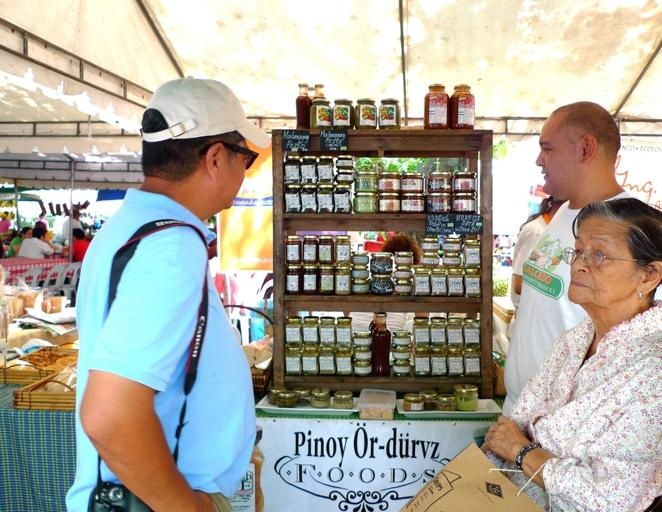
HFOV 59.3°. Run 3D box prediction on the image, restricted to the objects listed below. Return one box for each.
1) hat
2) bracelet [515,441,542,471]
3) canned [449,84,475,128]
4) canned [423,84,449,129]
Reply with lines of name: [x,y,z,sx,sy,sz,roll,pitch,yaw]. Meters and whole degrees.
hat: [-0.367,-0.522,1.782,0.403,0.221,0.309,-5,21,-16]
bracelet: [0.662,0.708,1.982,0.028,0.092,0.094,37,-1,34]
canned: [0.693,-0.952,3.164,0.162,0.290,0.165,-1,3,9]
canned: [0.564,-0.960,3.121,0.119,0.269,0.135,6,0,-39]
